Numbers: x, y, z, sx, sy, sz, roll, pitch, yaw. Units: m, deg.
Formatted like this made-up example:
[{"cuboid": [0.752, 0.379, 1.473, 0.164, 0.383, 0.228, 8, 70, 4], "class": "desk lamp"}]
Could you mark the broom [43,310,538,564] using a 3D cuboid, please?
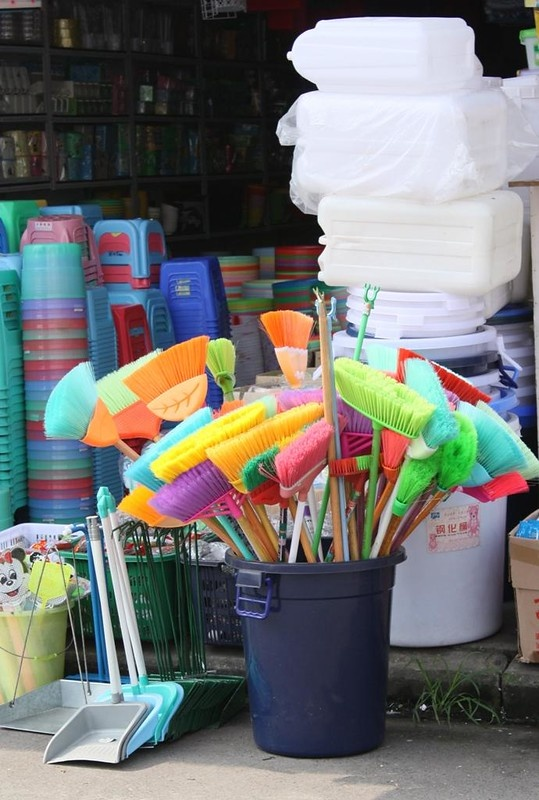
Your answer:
[{"cuboid": [0.059, 0.092, 1.513, 0.699, 0.276, 0.669, -3, -1, 11], "class": "broom"}]

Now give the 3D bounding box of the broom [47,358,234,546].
[{"cuboid": [-0.312, 0.095, 1.675, 0.103, 0.344, 0.416, 7, 34, -52], "class": "broom"}]

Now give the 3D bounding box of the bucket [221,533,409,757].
[{"cuboid": [0.077, 0.510, 1.676, 0.467, 0.400, 0.409, -1, -6, -16], "class": "bucket"}]
